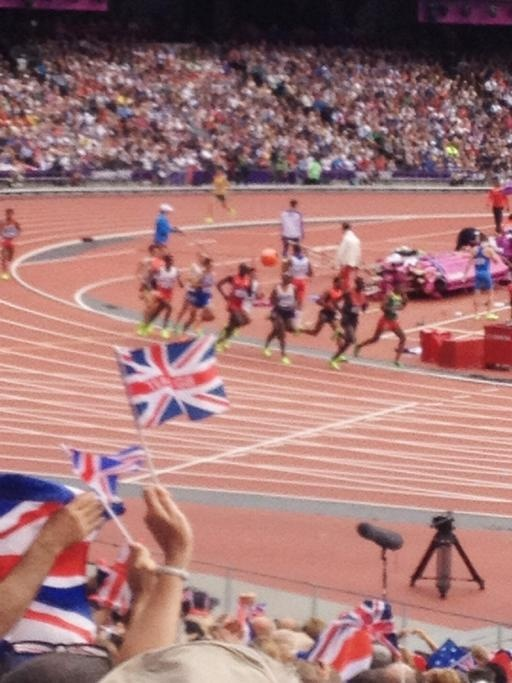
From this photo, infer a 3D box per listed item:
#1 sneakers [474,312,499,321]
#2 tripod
[{"bbox_3d":[4.148,-0.439,18.074,0.533,0.167,0.183,0,2,29],"label":"sneakers"},{"bbox_3d":[1.371,1.656,7.572,0.408,0.399,0.589,19,-21,-38],"label":"tripod"}]
